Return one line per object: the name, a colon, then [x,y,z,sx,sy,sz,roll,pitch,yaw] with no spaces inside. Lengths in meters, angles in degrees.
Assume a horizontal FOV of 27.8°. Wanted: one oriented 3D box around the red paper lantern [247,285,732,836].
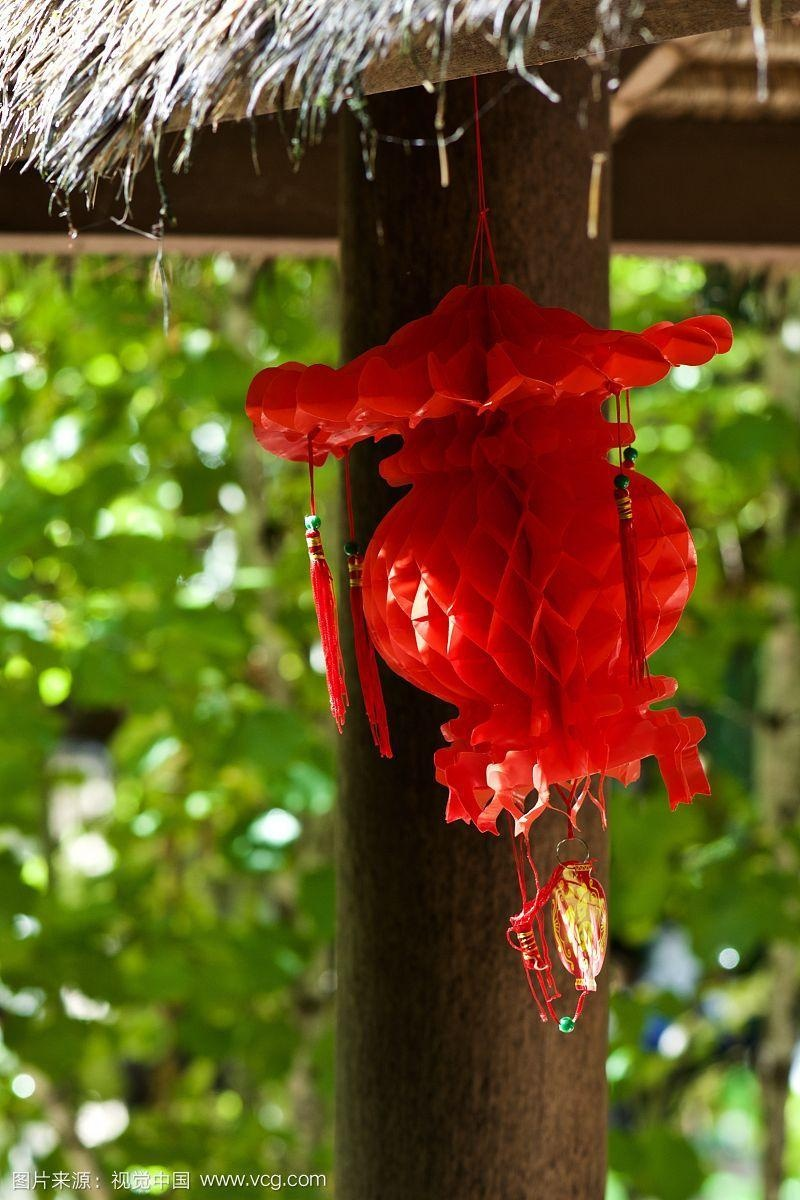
red paper lantern: [0.107,-0.028,1.195,0.388,0.379,0.361,-4,97,23]
